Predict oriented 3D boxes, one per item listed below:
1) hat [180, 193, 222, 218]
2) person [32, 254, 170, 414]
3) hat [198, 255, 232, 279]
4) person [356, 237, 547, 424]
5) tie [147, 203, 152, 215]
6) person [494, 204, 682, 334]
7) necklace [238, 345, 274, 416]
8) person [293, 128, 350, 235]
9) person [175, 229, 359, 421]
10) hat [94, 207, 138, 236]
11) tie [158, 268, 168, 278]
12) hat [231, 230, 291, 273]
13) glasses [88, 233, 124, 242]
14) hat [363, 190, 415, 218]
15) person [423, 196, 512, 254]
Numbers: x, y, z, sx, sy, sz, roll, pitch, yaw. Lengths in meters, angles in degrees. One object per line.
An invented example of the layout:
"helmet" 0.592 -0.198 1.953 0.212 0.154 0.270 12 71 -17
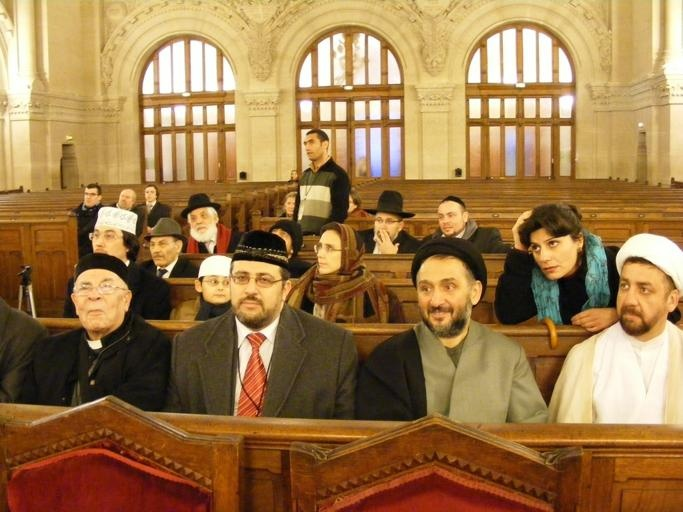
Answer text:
"hat" -1.443 -0.511 7.018 0.339 0.203 0.372 -1 1 -4
"person" -1.232 0.378 3.627 0.786 0.778 0.425 0 2 29
"hat" -0.853 0.077 4.788 0.228 0.143 0.231 1 8 6
"person" 0.491 0.332 3.247 0.871 0.827 0.433 -1 2 16
"tie" -2.896 -0.692 10.631 0.105 0.146 0.055 -5 -16 36
"person" 1.344 0.109 3.944 0.608 0.895 1.089 5 -5 -38
"necklace" -0.422 0.548 3.291 0.144 0.366 0.192 -1 2 -6
"person" -0.185 -0.683 6.459 0.513 0.981 0.600 -1 2 -4
"person" -0.372 0.376 3.698 0.923 0.979 0.530 -1 -12 6
"hat" -1.707 -0.271 5.338 0.232 0.158 0.240 14 2 10
"tie" -1.487 0.146 5.811 0.079 0.078 0.020 3 -16 0
"hat" -0.380 -0.035 3.410 0.203 0.124 0.208 12 3 29
"glasses" -1.810 -0.153 5.334 0.317 0.070 0.138 -1 1 35
"hat" 0.482 -0.451 6.557 0.300 0.172 0.442 6 -10 21
"person" 1.207 -0.287 6.675 0.895 0.529 0.420 -1 -5 15
